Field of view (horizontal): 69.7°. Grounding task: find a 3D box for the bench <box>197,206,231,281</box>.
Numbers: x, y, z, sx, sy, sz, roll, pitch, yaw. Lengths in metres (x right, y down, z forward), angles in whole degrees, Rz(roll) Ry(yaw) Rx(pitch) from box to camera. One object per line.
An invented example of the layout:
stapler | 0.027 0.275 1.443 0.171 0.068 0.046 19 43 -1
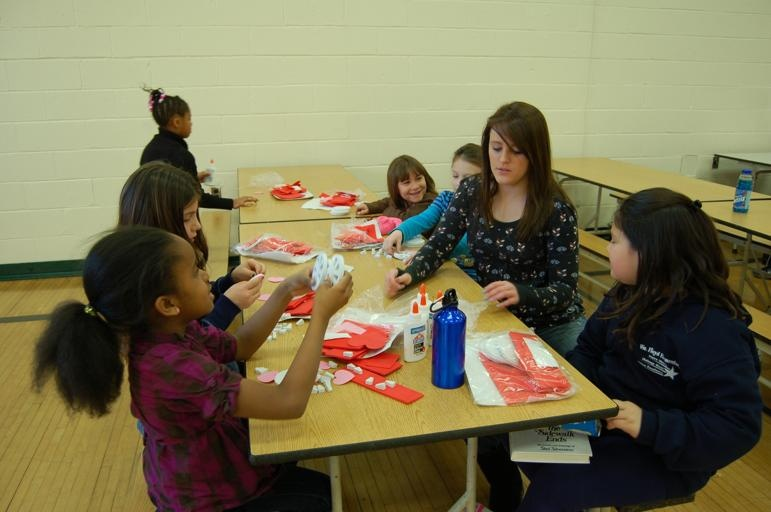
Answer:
bench | -1.067 -0.079 3.455 0.093 0.130 0.553 -1 34 -8

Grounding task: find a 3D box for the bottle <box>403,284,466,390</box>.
bottle | 0.218 0.282 1.933 0.119 0.351 0.103 -1 17 5
